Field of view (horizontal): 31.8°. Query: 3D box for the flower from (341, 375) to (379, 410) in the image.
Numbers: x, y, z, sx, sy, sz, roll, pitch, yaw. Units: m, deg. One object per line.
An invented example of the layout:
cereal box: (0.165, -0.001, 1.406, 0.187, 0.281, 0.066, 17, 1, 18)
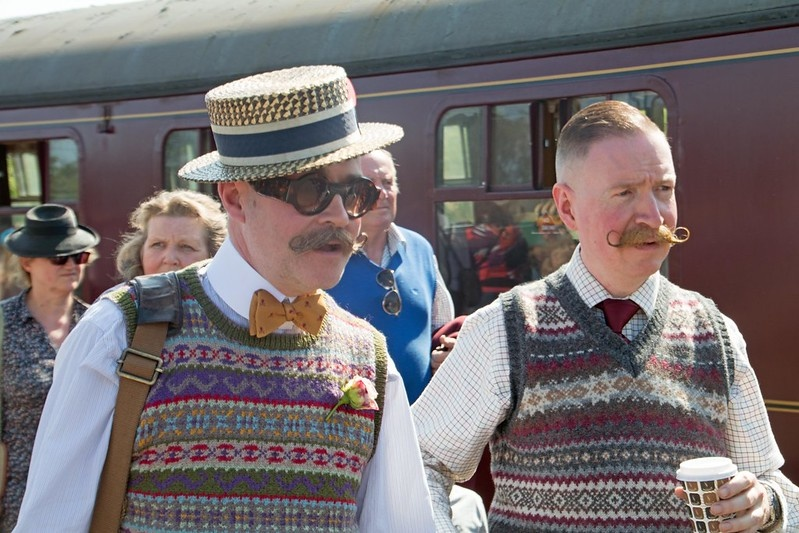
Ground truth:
flower: (-0.171, 0.559, 6.130, 0.131, 0.137, 0.147, -20, -46, 15)
